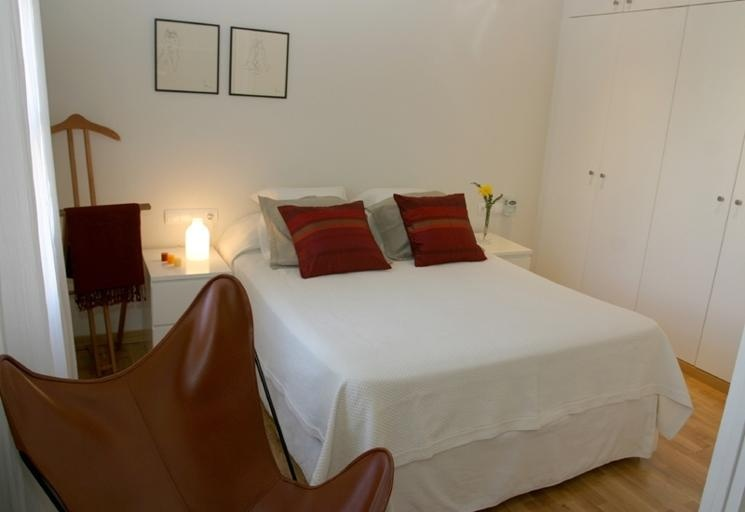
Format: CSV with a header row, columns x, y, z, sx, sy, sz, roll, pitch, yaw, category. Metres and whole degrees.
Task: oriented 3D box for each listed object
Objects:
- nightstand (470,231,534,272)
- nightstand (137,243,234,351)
x,y,z,sx,sy,sz,roll,pitch,yaw,category
1.063,-0.140,4.370,0.422,0.228,0.314,-3,15,-23,nightstand
-1.302,0.224,3.755,0.584,0.753,0.672,-6,15,-25,nightstand
